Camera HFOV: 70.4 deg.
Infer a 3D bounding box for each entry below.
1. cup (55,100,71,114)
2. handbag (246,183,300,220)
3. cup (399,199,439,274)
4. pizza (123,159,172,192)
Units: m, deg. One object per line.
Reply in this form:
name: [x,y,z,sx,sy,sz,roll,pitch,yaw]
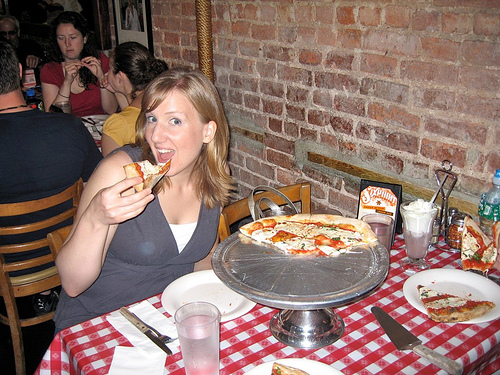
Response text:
cup: [-1.653,-0.723,3.158,0.142,0.151,0.136,4,15,-1]
handbag: [0.125,0.067,1.703,0.211,0.201,0.141,20,45,30]
cup: [0.653,0.203,1.380,0.138,0.245,0.139,-4,12,1]
pizza: [-0.377,-0.051,1.305,0.148,0.034,0.110,-19,45,-35]
